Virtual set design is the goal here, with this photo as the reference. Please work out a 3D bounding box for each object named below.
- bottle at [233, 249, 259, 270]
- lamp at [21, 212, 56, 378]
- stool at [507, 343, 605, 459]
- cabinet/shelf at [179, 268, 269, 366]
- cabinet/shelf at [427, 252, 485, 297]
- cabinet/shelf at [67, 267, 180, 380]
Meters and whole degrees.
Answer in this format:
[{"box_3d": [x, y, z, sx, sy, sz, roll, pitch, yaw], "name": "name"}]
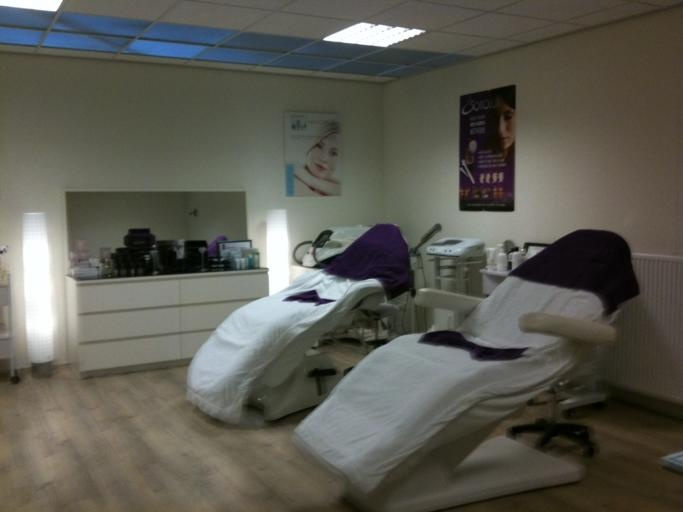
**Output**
[{"box_3d": [-1.028, 0.040, 5.701, 0.185, 0.256, 0.334, -1, 1, 25], "name": "bottle"}, {"box_3d": [-2.947, 0.365, 5.073, 0.261, 1.545, 0.387, -6, 10, -31], "name": "lamp"}, {"box_3d": [1.467, 0.985, 3.645, 0.546, 0.362, 0.551, -1, 4, -17], "name": "stool"}, {"box_3d": [-1.141, 0.570, 4.838, 0.939, 0.890, 0.301, -2, 1, -32], "name": "cabinet/shelf"}, {"box_3d": [1.172, 0.161, 5.550, 0.473, 0.564, 0.479, 5, 7, 36], "name": "cabinet/shelf"}, {"box_3d": [-2.156, 0.499, 5.370, 1.248, 1.196, 0.833, -3, 2, -8], "name": "cabinet/shelf"}]
